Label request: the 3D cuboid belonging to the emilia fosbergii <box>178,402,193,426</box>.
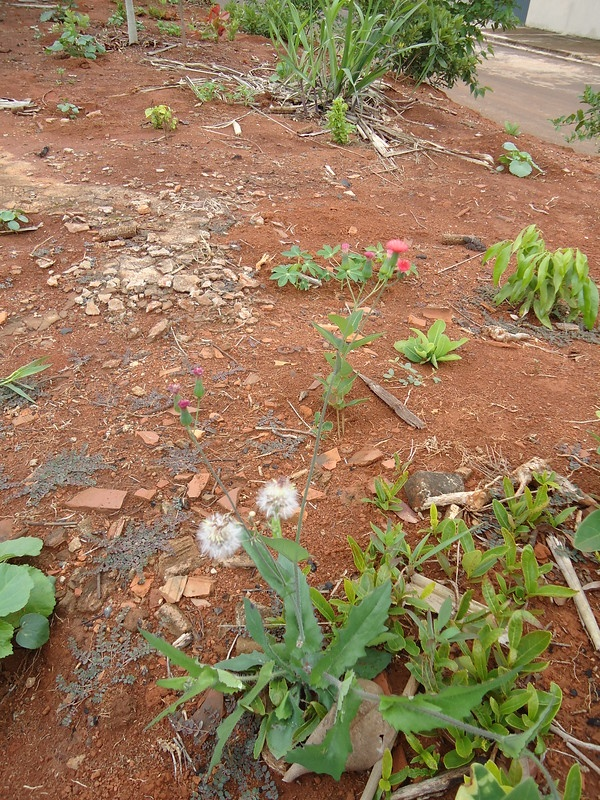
[{"bbox_3d":[-0.336,0.045,1.674,0.042,0.087,0.039,-12,55,-3],"label":"emilia fosbergii"}]
